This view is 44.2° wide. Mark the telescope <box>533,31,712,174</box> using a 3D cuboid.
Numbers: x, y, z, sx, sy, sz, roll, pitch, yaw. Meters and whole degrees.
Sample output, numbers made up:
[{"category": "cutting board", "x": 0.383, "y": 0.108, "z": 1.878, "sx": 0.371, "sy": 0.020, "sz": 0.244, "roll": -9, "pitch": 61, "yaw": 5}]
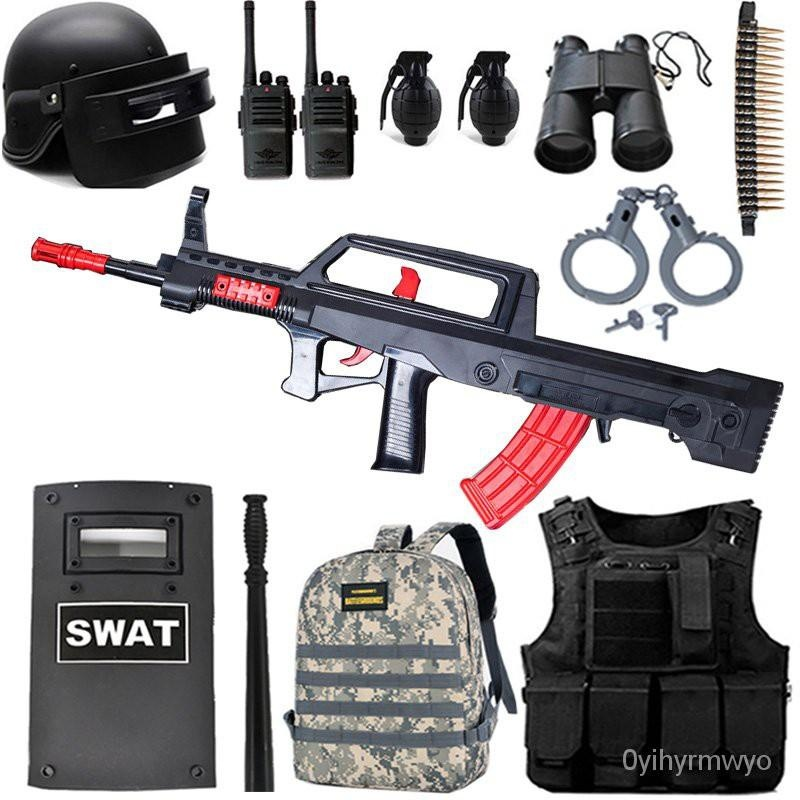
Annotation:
[{"category": "telescope", "x": 0.846, "y": -1.252, "z": 4.053, "sx": 0.584, "sy": 0.574, "sz": 0.331, "roll": 1, "pitch": -11, "yaw": 7}]

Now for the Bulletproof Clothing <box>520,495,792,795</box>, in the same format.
[{"category": "Bulletproof Clothing", "x": 0.955, "y": 0.930, "z": 3.773, "sx": 0.973, "sy": 1.099, "sz": 0.316, "roll": 1, "pitch": -11, "yaw": 9}]

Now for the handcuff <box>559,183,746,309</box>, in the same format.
[{"category": "handcuff", "x": 1.008, "y": -0.637, "z": 3.980, "sx": 0.711, "sy": 0.524, "sz": 0.173, "roll": 1, "pitch": -11, "yaw": 8}]
